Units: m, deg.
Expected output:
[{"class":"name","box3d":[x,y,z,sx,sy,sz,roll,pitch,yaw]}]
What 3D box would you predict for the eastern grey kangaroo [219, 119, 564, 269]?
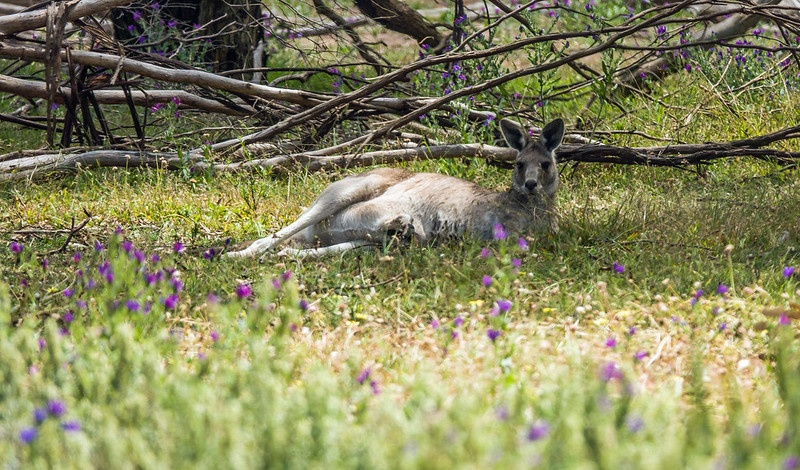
[{"class":"eastern grey kangaroo","box3d":[-0.093,-0.221,8.579,3.018,1.396,1.255,-3,16,3]}]
